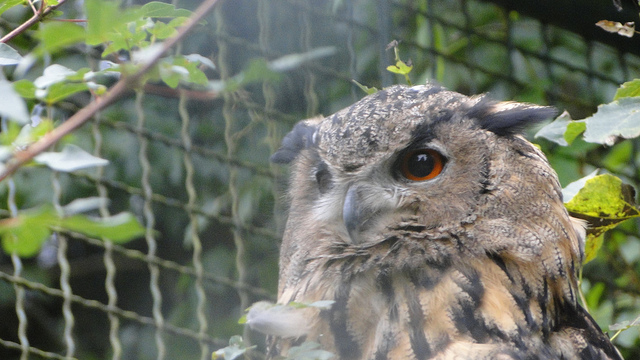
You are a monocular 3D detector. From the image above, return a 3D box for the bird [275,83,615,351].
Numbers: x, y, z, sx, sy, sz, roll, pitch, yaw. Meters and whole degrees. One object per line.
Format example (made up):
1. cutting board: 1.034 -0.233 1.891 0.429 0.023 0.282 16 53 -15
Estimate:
1. bird: 0.425 0.269 4.143 0.889 0.987 1.173 -17 -29 32
